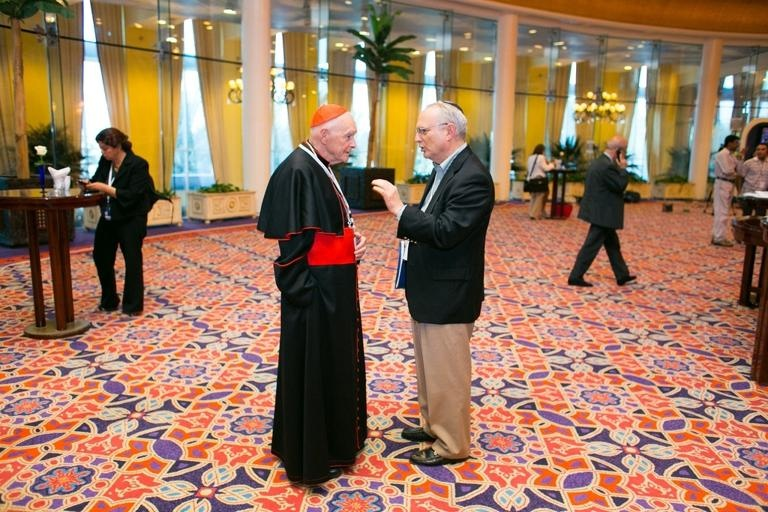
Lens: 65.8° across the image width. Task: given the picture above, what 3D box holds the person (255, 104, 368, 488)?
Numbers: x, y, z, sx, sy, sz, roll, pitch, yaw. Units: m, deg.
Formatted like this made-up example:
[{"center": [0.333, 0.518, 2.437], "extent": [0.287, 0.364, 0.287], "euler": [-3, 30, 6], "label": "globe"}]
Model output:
[{"center": [-0.451, 0.431, 4.107], "extent": [0.719, 2.292, 0.650], "euler": [-6, 16, -22], "label": "person"}]

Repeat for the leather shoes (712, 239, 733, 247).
[{"center": [6.063, -0.228, 10.595], "extent": [0.354, 0.119, 0.118], "euler": [1, 7, 14], "label": "leather shoes"}]

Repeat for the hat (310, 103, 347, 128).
[{"center": [-0.380, -0.966, 4.113], "extent": [0.242, 0.155, 0.245], "euler": [0, 13, -2], "label": "hat"}]

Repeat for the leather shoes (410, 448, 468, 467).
[{"center": [0.426, 1.470, 4.408], "extent": [0.437, 0.155, 0.143], "euler": [5, -4, -4], "label": "leather shoes"}]

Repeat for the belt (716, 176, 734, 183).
[{"center": [6.046, -1.349, 10.481], "extent": [0.271, 0.106, 0.210], "euler": [5, 14, 19], "label": "belt"}]

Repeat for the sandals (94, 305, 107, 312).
[{"center": [-3.120, 0.579, 6.587], "extent": [0.162, 0.088, 0.051], "euler": [5, 6, 17], "label": "sandals"}]

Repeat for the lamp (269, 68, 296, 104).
[{"center": [-2.230, -3.749, 13.158], "extent": [0.601, 0.774, 0.218], "euler": [-6, 16, -24], "label": "lamp"}]

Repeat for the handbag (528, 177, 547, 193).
[{"center": [3.347, -1.539, 12.933], "extent": [0.573, 0.322, 0.300], "euler": [0, 8, 7], "label": "handbag"}]

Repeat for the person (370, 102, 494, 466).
[{"center": [0.375, 0.218, 4.244], "extent": [0.700, 2.564, 0.568], "euler": [5, 16, 17], "label": "person"}]

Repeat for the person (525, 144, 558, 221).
[{"center": [3.501, -1.635, 13.317], "extent": [0.608, 1.693, 0.961], "euler": [4, 15, 13], "label": "person"}]

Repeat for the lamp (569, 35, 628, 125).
[{"center": [6.396, -5.354, 17.857], "extent": [1.890, 2.837, 1.815], "euler": [14, 24, 29], "label": "lamp"}]

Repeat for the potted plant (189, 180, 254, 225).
[{"center": [-3.210, -1.061, 11.764], "extent": [0.591, 0.698, 1.162], "euler": [13, 18, 41], "label": "potted plant"}]

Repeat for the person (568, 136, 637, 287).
[{"center": [2.945, -0.562, 7.792], "extent": [0.795, 1.960, 0.622], "euler": [7, 16, 26], "label": "person"}]

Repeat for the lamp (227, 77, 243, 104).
[{"center": [-3.080, -3.433, 12.366], "extent": [0.353, 0.520, 0.273], "euler": [4, 15, 13], "label": "lamp"}]

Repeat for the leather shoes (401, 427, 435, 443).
[{"center": [0.250, 1.375, 4.617], "extent": [0.306, 0.104, 0.098], "euler": [9, -5, -2], "label": "leather shoes"}]
